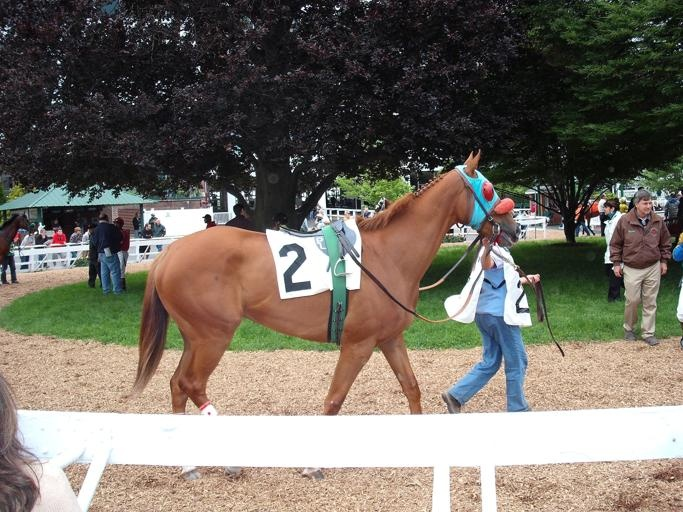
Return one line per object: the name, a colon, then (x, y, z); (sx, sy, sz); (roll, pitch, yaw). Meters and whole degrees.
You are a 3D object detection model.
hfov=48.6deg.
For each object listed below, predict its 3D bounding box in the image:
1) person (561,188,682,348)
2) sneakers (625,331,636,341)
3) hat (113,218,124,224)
person: (4.367, 0.143, 11.055); (0.831, 2.255, 0.497); (1, 5, 24)
sneakers: (4.315, 1.196, 11.305); (0.094, 0.169, 0.158); (-1, -4, -5)
hat: (-4.987, -0.817, 16.945); (0.288, 0.081, 0.296); (-5, 6, 0)
